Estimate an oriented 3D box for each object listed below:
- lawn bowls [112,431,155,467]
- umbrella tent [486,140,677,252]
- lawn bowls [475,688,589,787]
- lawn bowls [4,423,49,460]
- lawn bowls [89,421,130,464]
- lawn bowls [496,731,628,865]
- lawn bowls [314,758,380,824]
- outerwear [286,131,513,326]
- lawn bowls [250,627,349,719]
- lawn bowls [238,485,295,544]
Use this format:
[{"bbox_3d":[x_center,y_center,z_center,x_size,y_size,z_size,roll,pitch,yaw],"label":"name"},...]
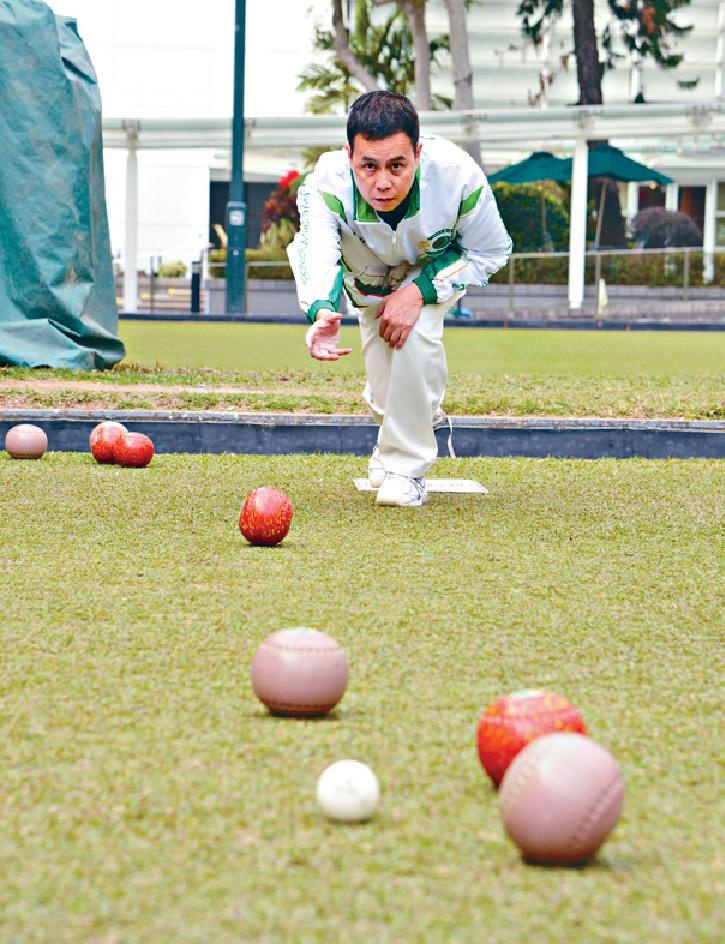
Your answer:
[{"bbox_3d":[-0.775,-0.073,5.320,0.123,0.117,0.123,8,0,0],"label":"lawn bowls"},{"bbox_3d":[2.997,-3.811,21.586,2.173,1.414,3.395,1,12,10],"label":"umbrella tent"},{"bbox_3d":[0.209,0.321,2.000,0.127,0.115,0.122,-6,14,1],"label":"lawn bowls"},{"bbox_3d":[-1.173,-0.113,5.457,0.133,0.112,0.128,2,4,0],"label":"lawn bowls"},{"bbox_3d":[-0.894,-0.118,5.473,0.144,0.159,0.143,10,5,-1],"label":"lawn bowls"},{"bbox_3d":[0.227,0.376,1.793,0.140,0.127,0.109,-3,12,-7],"label":"lawn bowls"},{"bbox_3d":[-0.017,0.382,1.897,0.081,0.063,0.076,-1,12,0],"label":"lawn bowls"},{"bbox_3d":[0.088,-0.639,4.366,0.483,0.638,0.419,1,-27,5],"label":"outerwear"},{"bbox_3d":[-0.092,0.282,2.290,0.130,0.118,0.126,2,8,0],"label":"lawn bowls"},{"bbox_3d":[-0.231,0.099,3.741,0.130,0.138,0.131,8,-3,0],"label":"lawn bowls"}]
